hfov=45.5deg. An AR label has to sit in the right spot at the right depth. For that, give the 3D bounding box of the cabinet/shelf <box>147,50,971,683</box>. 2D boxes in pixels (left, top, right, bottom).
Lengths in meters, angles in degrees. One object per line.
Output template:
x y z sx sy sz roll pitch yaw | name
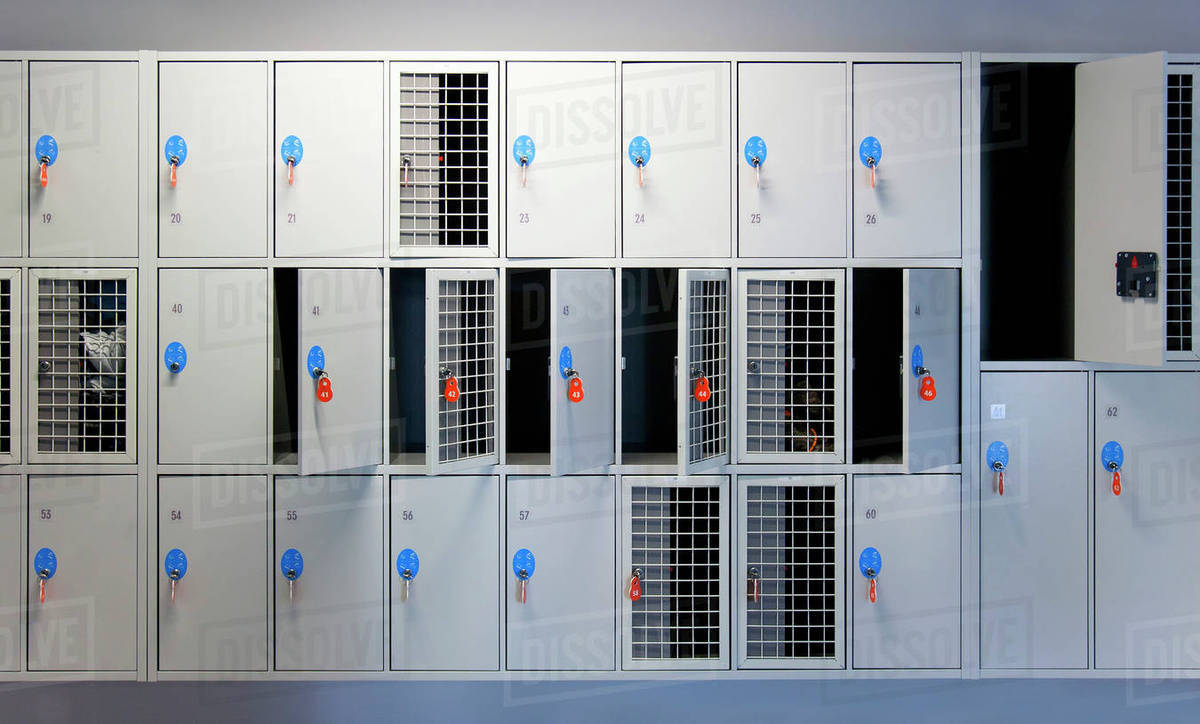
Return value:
-0.244 0.001 7.001 2.789 2.316 1.044 0 -1 -3 | cabinet/shelf

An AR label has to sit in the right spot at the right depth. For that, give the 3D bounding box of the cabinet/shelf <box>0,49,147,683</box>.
-2.536 0.024 7.005 0.741 3.045 0.238 1 -3 4 | cabinet/shelf
